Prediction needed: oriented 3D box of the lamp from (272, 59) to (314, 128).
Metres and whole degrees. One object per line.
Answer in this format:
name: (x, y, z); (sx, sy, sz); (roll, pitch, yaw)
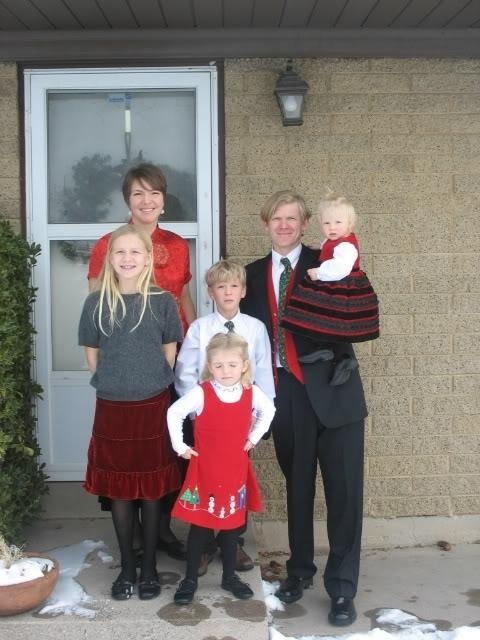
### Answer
lamp: (0.270, -1.202, 3.749); (0.180, 0.262, 0.167); (8, 4, 1)

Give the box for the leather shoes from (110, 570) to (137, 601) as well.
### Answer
leather shoes: (-0.474, 1.072, 2.896); (0.096, 0.076, 0.137); (7, 3, -5)

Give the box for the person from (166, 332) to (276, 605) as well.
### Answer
person: (-0.108, 0.592, 2.863); (0.433, 0.789, 0.202); (8, 4, 1)

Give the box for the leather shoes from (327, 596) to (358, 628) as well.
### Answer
leather shoes: (0.425, 1.206, 2.934); (0.112, 0.103, 0.081); (8, 4, 9)

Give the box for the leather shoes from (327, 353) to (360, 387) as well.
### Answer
leather shoes: (0.430, 0.215, 2.955); (0.079, 0.153, 0.037); (34, -24, 12)

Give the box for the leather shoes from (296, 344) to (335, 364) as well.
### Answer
leather shoes: (0.320, 0.144, 2.967); (0.139, 0.074, 0.044); (3, -9, -3)

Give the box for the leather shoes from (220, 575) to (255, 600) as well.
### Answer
leather shoes: (-0.012, 1.088, 2.883); (0.151, 0.054, 0.056); (2, 5, 43)
